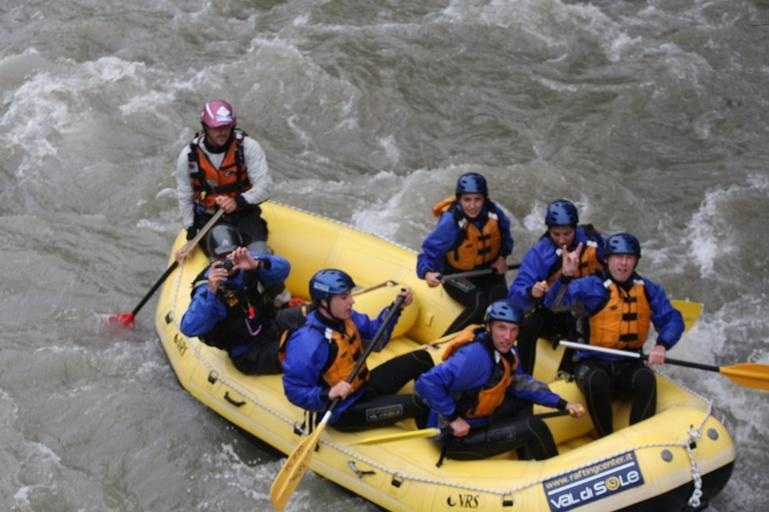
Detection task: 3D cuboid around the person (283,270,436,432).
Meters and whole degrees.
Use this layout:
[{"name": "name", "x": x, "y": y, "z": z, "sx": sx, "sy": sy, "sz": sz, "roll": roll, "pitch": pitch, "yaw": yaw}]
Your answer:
[{"name": "person", "x": -0.267, "y": 1.017, "z": 9.755, "sx": 0.831, "sy": 1.174, "sz": 0.939, "roll": -17, "pitch": 35, "yaw": 19}]

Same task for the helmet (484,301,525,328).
[{"name": "helmet", "x": 1.158, "y": 0.513, "z": 9.272, "sx": 0.212, "sy": 0.290, "sz": 0.266, "roll": 8, "pitch": 51, "yaw": -10}]

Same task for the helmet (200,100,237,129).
[{"name": "helmet", "x": -1.877, "y": -1.577, "z": 10.739, "sx": 0.349, "sy": 0.278, "sz": 0.303, "roll": -7, "pitch": 47, "yaw": -10}]

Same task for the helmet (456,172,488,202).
[{"name": "helmet", "x": 0.941, "y": -0.736, "z": 10.439, "sx": 0.240, "sy": 0.331, "sz": 0.303, "roll": 1, "pitch": 49, "yaw": 0}]

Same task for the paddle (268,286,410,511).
[{"name": "paddle", "x": -0.489, "y": 1.526, "z": 9.677, "sx": 0.310, "sy": 0.183, "sz": 2.726, "roll": 36, "pitch": 90, "yaw": -7}]

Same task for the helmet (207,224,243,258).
[{"name": "helmet", "x": -1.711, "y": -0.175, "z": 10.050, "sx": 0.281, "sy": 0.308, "sz": 0.377, "roll": -31, "pitch": 31, "yaw": -5}]

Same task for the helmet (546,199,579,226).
[{"name": "helmet", "x": 1.856, "y": -0.440, "z": 10.126, "sx": 0.234, "sy": 0.264, "sz": 0.337, "roll": 0, "pitch": 89, "yaw": 7}]

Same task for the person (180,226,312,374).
[{"name": "person", "x": -1.525, "y": 0.503, "z": 10.132, "sx": 1.109, "sy": 1.290, "sz": 1.005, "roll": 0, "pitch": 44, "yaw": 34}]

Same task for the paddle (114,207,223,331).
[{"name": "paddle", "x": -2.523, "y": 0.196, "z": 11.142, "sx": 0.383, "sy": 0.094, "sz": 1.845, "roll": 39, "pitch": 83, "yaw": 17}]

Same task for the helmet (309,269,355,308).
[{"name": "helmet", "x": -0.534, "y": 0.303, "z": 9.487, "sx": 0.398, "sy": 0.322, "sz": 0.298, "roll": -1, "pitch": 6, "yaw": 15}]

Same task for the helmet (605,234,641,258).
[{"name": "helmet", "x": 2.407, "y": -0.115, "z": 9.766, "sx": 0.244, "sy": 0.322, "sz": 0.161, "roll": 4, "pitch": 9, "yaw": 4}]

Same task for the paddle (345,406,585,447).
[{"name": "paddle", "x": 0.716, "y": 1.684, "z": 9.568, "sx": 1.769, "sy": 0.267, "sz": 0.095, "roll": -7, "pitch": 54, "yaw": 1}]
